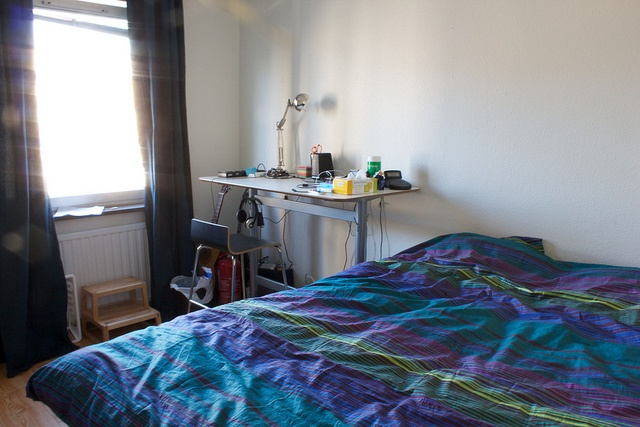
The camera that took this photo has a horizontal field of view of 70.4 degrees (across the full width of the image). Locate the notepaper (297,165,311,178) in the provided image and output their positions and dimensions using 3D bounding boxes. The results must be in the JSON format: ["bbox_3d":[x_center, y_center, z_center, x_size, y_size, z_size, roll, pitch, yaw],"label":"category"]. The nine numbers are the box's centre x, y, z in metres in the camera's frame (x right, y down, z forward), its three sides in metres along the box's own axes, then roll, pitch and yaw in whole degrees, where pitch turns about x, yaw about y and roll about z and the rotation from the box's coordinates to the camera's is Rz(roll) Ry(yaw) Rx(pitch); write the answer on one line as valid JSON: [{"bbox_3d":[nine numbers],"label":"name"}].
[{"bbox_3d":[-0.109,-0.334,3.599,0.160,0.078,0.113,5,3,30],"label":"notepaper"}]

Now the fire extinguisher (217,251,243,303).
[{"bbox_3d":[-0.758,0.549,3.749,0.255,0.424,0.240,0,3,10],"label":"fire extinguisher"}]

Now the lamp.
[{"bbox_3d":[-0.257,-0.629,3.656,0.305,0.657,0.410,2,10,-2],"label":"lamp"}]

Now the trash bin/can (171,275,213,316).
[{"bbox_3d":[-1.024,0.610,3.633,0.354,0.235,0.254,-14,23,-28],"label":"trash bin/can"}]

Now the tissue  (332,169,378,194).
[{"bbox_3d":[0.217,-0.232,2.868,0.234,0.129,0.161,-7,8,-43],"label":"tissue "}]

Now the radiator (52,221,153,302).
[{"bbox_3d":[-1.690,0.296,3.514,0.422,0.512,0.749,13,14,43],"label":"radiator"}]

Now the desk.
[{"bbox_3d":[-0.151,0.182,3.352,1.349,0.807,0.683,11,19,35],"label":"desk"}]
